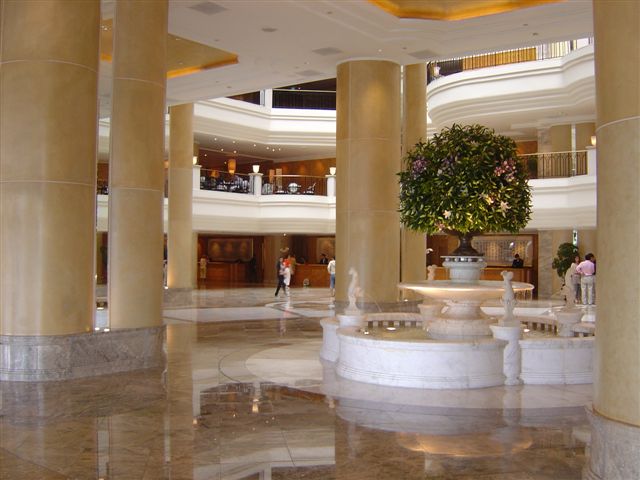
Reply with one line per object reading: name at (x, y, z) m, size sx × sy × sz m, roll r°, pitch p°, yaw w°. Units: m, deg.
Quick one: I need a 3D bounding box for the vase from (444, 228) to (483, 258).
vase at (1.868, 0.040, 7.341) m, size 0.374 × 0.276 × 0.383 m, roll -6°, pitch -7°, yaw 45°

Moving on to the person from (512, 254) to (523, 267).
person at (7.974, 0.812, 22.478) m, size 0.436 × 0.529 × 0.835 m, roll 0°, pitch -1°, yaw 19°
